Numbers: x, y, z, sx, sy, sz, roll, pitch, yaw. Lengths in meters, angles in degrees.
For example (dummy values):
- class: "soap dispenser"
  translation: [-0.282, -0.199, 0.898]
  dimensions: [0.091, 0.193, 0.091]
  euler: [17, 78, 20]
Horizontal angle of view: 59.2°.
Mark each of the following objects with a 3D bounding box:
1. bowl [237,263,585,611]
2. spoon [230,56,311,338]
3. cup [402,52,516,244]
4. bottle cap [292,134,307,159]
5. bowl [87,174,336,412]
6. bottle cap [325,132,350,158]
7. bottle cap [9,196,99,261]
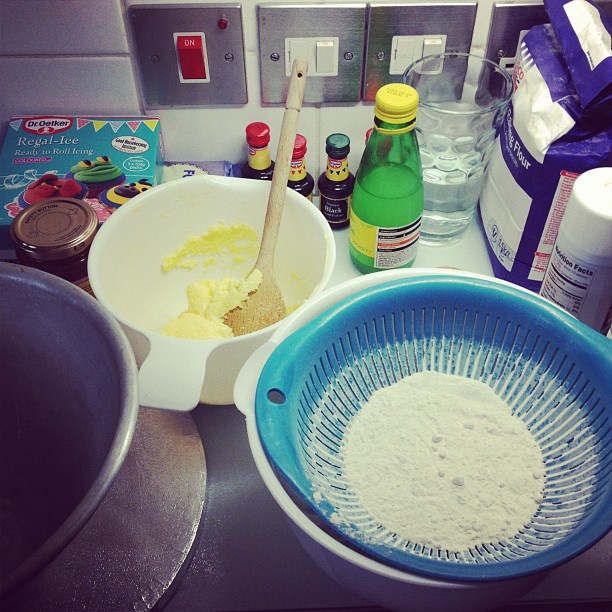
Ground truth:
- class: "bowl"
  translation: [0.104, 0.119, 0.575]
  dimensions: [0.339, 0.176, 0.355]
  euler: [-1, 39, 1]
- class: "spoon"
  translation: [-0.048, -0.137, 0.789]
  dimensions: [0.104, 0.395, 0.061]
  euler: [11, 13, 19]
- class: "cup"
  translation: [0.219, -0.232, 0.758]
  dimensions: [0.143, 0.211, 0.140]
  euler: [0, 53, 0]
- class: "bottle cap"
  translation: [-0.009, -0.227, 0.779]
  dimensions: [0.017, 0.030, 0.030]
  euler: [5, 40, 9]
- class: "bowl"
  translation: [-0.120, -0.025, 0.688]
  dimensions: [0.251, 0.199, 0.282]
  euler: [-12, 47, -10]
- class: "bottle cap"
  translation: [0.046, -0.223, 0.753]
  dimensions: [0.034, 0.030, 0.031]
  euler: [0, 56, 1]
- class: "bottle cap"
  translation: [-0.310, -0.093, 0.665]
  dimensions: [0.060, 0.045, 0.081]
  euler: [28, 48, 27]
